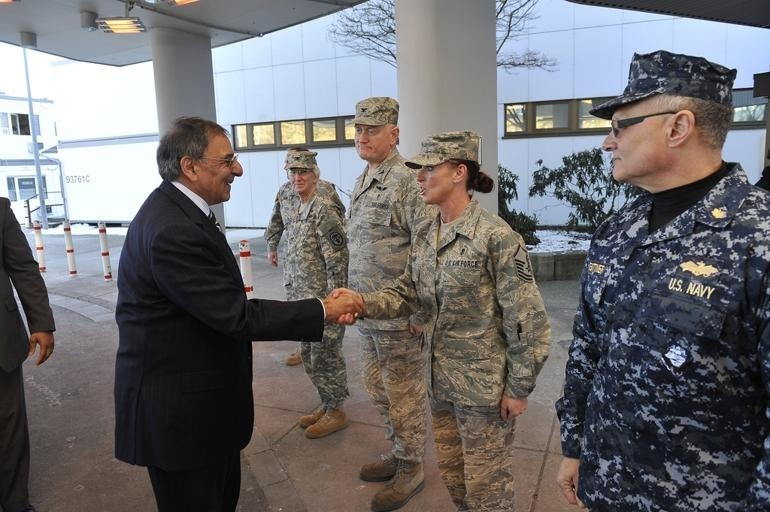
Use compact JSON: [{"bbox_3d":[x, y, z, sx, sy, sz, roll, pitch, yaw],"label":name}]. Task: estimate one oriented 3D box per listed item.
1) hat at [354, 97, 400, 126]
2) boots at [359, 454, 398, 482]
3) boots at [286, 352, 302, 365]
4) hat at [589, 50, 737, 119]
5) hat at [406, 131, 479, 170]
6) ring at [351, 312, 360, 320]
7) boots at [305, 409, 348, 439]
[{"bbox_3d":[-0.063,-1.060,3.953,0.217,0.137,0.281,5,7,43],"label":"hat"},{"bbox_3d":[-0.044,1.586,3.975,0.314,0.137,0.148,3,-2,-2],"label":"boots"},{"bbox_3d":[-1.016,1.163,5.977,0.133,0.156,0.365,-2,-13,5],"label":"boots"},{"bbox_3d":[1.205,-0.777,2.344,0.559,0.236,0.401,3,14,19],"label":"hat"},{"bbox_3d":[0.342,-0.638,3.217,0.460,0.217,0.322,-4,8,-19],"label":"hat"},{"bbox_3d":[-0.183,0.365,3.235,0.015,0.034,0.045,36,15,5],"label":"ring"},{"bbox_3d":[-0.489,1.431,4.582,0.408,0.259,0.158,1,-2,-28],"label":"boots"}]
